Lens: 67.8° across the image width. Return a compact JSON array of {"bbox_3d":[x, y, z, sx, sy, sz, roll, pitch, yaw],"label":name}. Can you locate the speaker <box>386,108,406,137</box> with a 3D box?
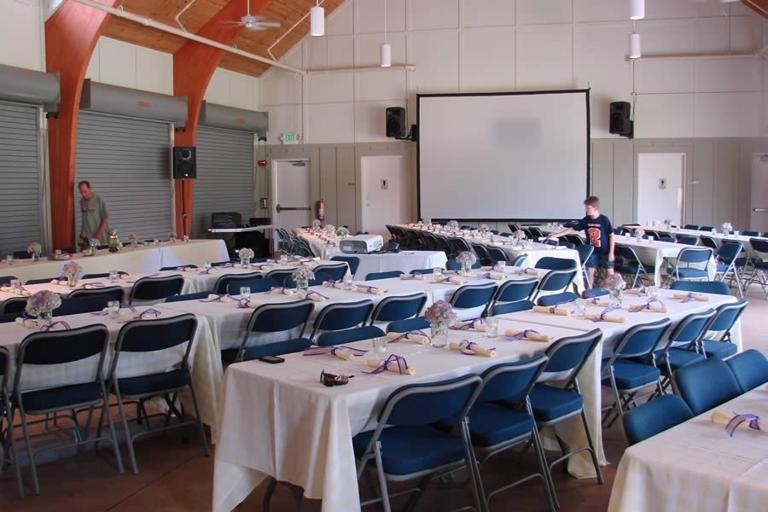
[{"bbox_3d":[0.328,-3.587,15.265,0.547,0.840,0.488,-3,7,-1],"label":"speaker"}]

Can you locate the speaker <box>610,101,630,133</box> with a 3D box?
[{"bbox_3d":[5.851,-3.464,14.160,0.473,0.797,0.543,0,8,21],"label":"speaker"}]

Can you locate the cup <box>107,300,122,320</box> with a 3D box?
[{"bbox_3d":[-2.222,0.456,4.727,0.131,0.148,0.133,2,-3,0],"label":"cup"}]

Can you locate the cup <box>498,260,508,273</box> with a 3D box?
[{"bbox_3d":[1.463,0.127,6.883,0.091,0.144,0.147,7,22,21],"label":"cup"}]

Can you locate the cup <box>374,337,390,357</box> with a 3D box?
[{"bbox_3d":[-0.014,0.585,3.674,0.095,0.100,0.090,-1,5,0],"label":"cup"}]

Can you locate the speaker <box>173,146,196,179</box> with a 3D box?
[{"bbox_3d":[-4.635,-2.170,13.203,0.538,0.743,0.259,-4,7,-13],"label":"speaker"}]
